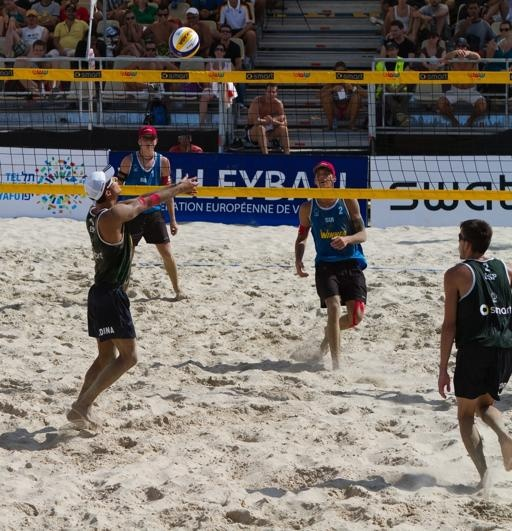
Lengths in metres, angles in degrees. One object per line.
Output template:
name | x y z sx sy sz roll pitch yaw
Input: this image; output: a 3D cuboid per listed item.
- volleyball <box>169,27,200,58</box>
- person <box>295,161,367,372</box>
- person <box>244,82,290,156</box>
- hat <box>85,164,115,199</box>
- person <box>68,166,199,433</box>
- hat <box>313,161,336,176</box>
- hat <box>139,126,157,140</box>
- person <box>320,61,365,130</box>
volleyball | -0.860 -2.624 9.752 0.330 0.358 0.232 -1 7 -6
person | 0.550 -0.013 6.036 0.519 1.476 0.656 -1 7 2
person | 0.104 -1.782 10.129 0.529 0.818 0.604 1 7 16
hat | -0.901 -0.464 4.769 0.109 0.197 0.145 29 13 -42
person | -0.797 0.190 4.926 0.710 1.552 0.403 -2 7 -5
hat | 0.499 -0.703 5.987 0.125 0.092 0.180 2 6 20
hat | -0.922 -1.117 6.959 0.123 0.109 0.207 -3 6 -16
person | 1.070 -2.170 10.514 0.667 0.802 0.499 -3 9 -7
